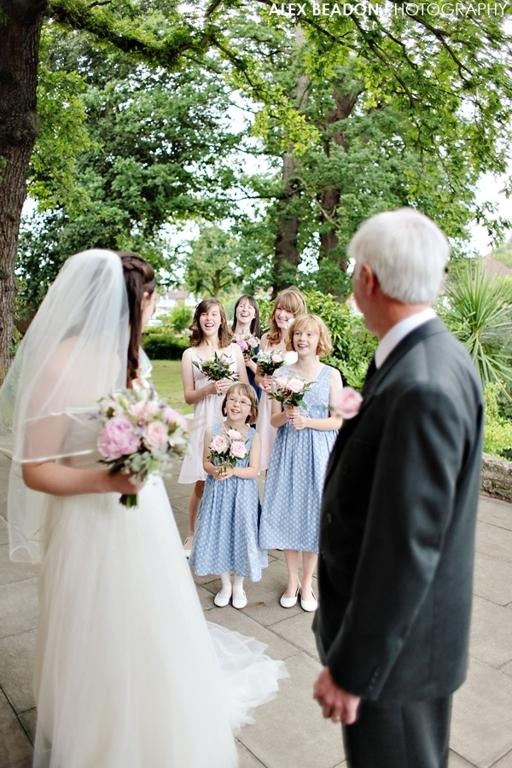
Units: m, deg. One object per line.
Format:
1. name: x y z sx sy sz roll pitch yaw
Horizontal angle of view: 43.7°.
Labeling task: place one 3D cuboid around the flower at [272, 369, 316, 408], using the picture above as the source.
1. flower: 0.230 0.022 3.877 0.210 0.177 0.207 -5 11 -38

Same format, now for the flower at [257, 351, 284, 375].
1. flower: 0.087 -0.135 4.432 0.166 0.170 0.175 -5 9 -24

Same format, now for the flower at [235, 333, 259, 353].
1. flower: -0.086 -0.335 5.261 0.148 0.139 0.105 0 -9 -6

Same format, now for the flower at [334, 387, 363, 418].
1. flower: 0.251 0.048 1.771 0.082 0.077 0.041 -4 -3 13

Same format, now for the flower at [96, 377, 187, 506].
1. flower: -0.377 0.163 2.080 0.277 0.316 0.270 3 8 -22

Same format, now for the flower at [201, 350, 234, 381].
1. flower: -0.280 -0.126 4.652 0.207 0.177 0.211 -2 -10 7
